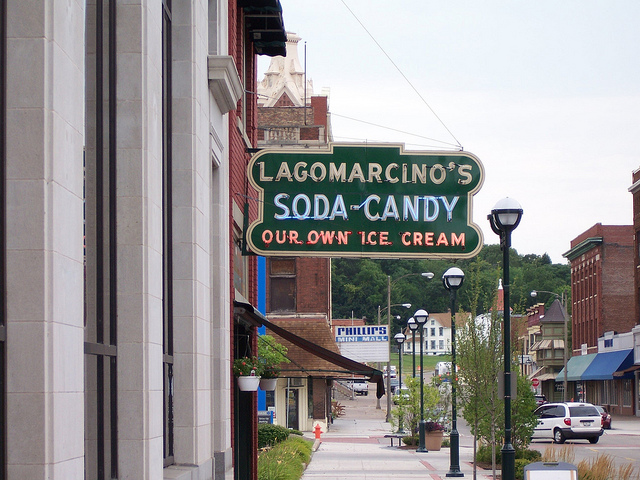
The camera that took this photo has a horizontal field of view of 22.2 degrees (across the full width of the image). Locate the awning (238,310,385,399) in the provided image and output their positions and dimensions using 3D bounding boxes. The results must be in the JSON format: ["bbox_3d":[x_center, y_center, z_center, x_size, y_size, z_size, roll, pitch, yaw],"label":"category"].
[{"bbox_3d":[-0.150,2.358,33.825,2.992,1.381,3.060,7,-3,-5],"label":"awning"}]

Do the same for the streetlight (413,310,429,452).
[{"bbox_3d":[3.045,4.301,48.228,0.382,3.972,0.613,-3,-8,7],"label":"streetlight"}]

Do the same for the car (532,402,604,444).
[{"bbox_3d":[8.299,6.139,54.947,1.852,1.403,3.849,2,-4,-16],"label":"car"}]

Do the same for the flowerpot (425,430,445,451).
[{"bbox_3d":[3.481,6.081,49.044,0.534,0.429,0.529,8,-13,-42],"label":"flowerpot"}]

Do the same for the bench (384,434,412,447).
[{"bbox_3d":[2.492,6.329,50.960,0.778,0.487,2.321,2,-9,3],"label":"bench"}]

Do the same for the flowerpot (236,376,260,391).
[{"bbox_3d":[-1.399,2.848,32.252,0.429,0.286,0.414,4,-9,-14],"label":"flowerpot"}]

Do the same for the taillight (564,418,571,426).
[{"bbox_3d":[8.233,6.071,53.903,0.077,0.248,0.259,7,-10,-36],"label":"taillight"}]

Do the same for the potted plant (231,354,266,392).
[{"bbox_3d":[-1.418,2.643,32.461,0.686,0.760,0.673,3,-15,-7],"label":"potted plant"}]
